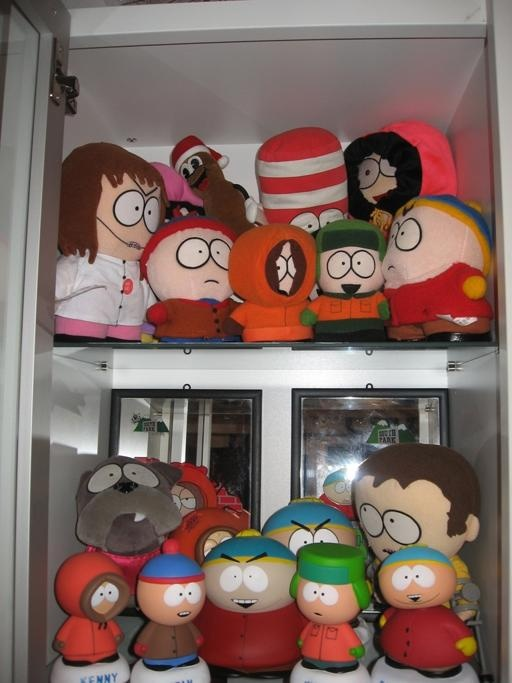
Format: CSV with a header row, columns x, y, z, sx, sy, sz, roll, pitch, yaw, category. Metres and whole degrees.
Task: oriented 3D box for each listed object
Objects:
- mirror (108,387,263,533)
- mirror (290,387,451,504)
x,y,z,sx,sy,sz,roll,pitch,yaw,category
-0.152,0.287,1.325,0.366,0.339,0.017,0,-15,3,mirror
0.266,0.239,1.269,0.306,0.235,0.028,-1,-23,5,mirror
